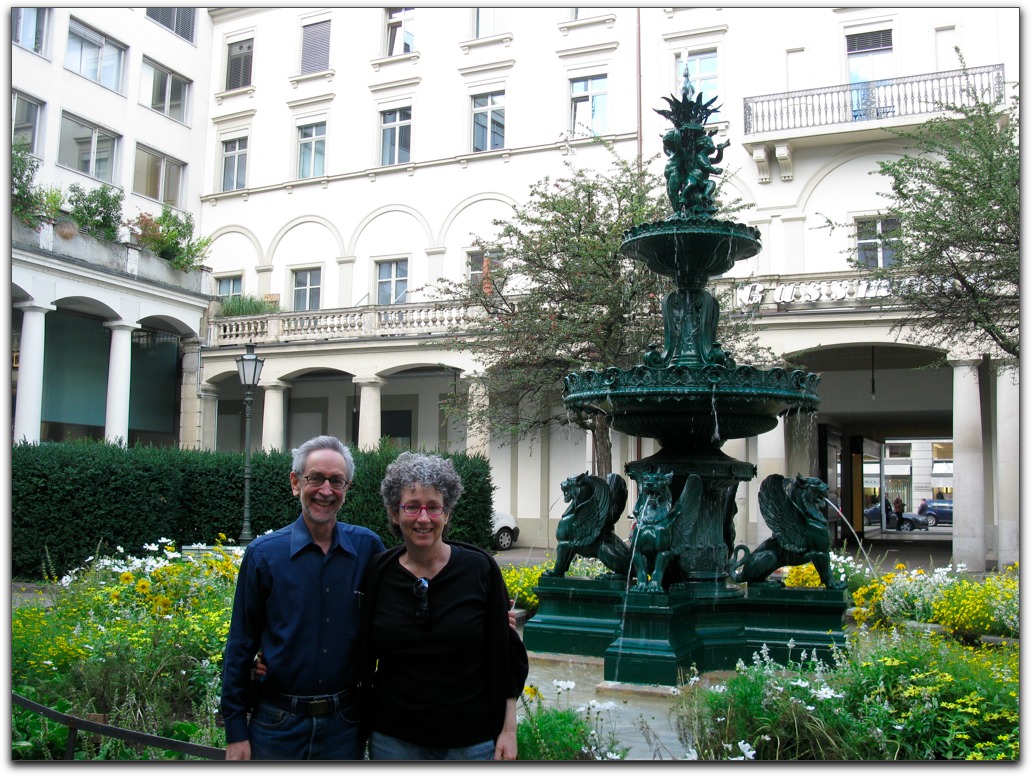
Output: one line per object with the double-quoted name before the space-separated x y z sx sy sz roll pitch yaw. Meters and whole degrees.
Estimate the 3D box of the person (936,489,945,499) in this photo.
"person" 25.957 6.456 55.719 0.382 1.022 0.303 10 -12 -32

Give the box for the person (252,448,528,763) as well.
"person" -0.402 1.260 5.304 0.931 1.727 0.341 2 -7 -10

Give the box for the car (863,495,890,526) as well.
"car" 17.425 5.945 43.894 1.096 1.444 6.099 -2 -8 21

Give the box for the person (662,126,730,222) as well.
"person" 2.043 -2.484 10.556 0.620 1.195 0.490 0 -7 8

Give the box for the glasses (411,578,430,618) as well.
"glasses" -0.516 1.188 5.190 0.082 0.217 0.033 2 -7 -7

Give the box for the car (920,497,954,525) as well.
"car" 22.309 6.635 48.462 1.558 1.291 3.897 -3 -8 23
